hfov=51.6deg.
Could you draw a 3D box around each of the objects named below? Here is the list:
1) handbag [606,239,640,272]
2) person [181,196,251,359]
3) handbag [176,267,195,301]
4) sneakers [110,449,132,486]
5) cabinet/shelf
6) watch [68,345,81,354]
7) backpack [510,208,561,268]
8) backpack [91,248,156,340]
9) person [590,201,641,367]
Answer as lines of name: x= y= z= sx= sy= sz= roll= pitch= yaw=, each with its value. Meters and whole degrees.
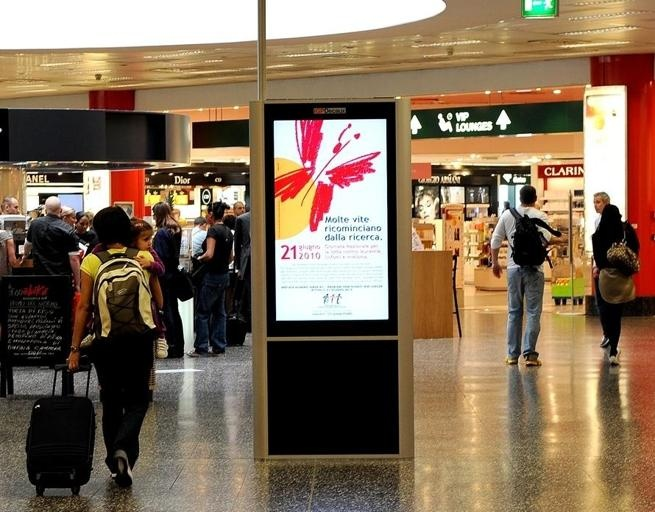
handbag: x=3.296 y=-0.005 z=7.587 sx=0.274 sy=0.279 sz=0.133 roll=23 pitch=-28 yaw=-31
person: x=-1.516 y=0.294 z=8.881 sx=0.557 sy=2.015 sz=0.916 roll=0 pitch=2 yaw=-11
handbag: x=-1.666 y=0.341 z=7.918 sx=0.077 sy=0.334 sz=0.345 roll=-2 pitch=2 yaw=-31
sneakers: x=-1.139 y=1.179 z=3.795 sx=0.090 sy=0.244 sz=0.105 roll=-7 pitch=8 yaw=-12
cabinet/shelf: x=3.419 y=0.169 z=13.237 sx=1.541 sy=2.998 sz=3.039 roll=-1 pitch=2 yaw=-5
watch: x=-1.488 y=0.557 z=3.990 sx=0.061 sy=0.068 sz=0.083 roll=2 pitch=-16 yaw=-10
backpack: x=2.218 y=-0.175 z=7.382 sx=0.432 sy=0.652 sz=0.607 roll=-12 pitch=-15 yaw=27
backpack: x=-1.164 y=0.245 z=3.897 sx=0.328 sy=0.460 sz=0.154 roll=-1 pitch=2 yaw=-21
person: x=3.345 y=0.310 z=7.864 sx=0.485 sy=1.839 sz=0.729 roll=1 pitch=2 yaw=25
